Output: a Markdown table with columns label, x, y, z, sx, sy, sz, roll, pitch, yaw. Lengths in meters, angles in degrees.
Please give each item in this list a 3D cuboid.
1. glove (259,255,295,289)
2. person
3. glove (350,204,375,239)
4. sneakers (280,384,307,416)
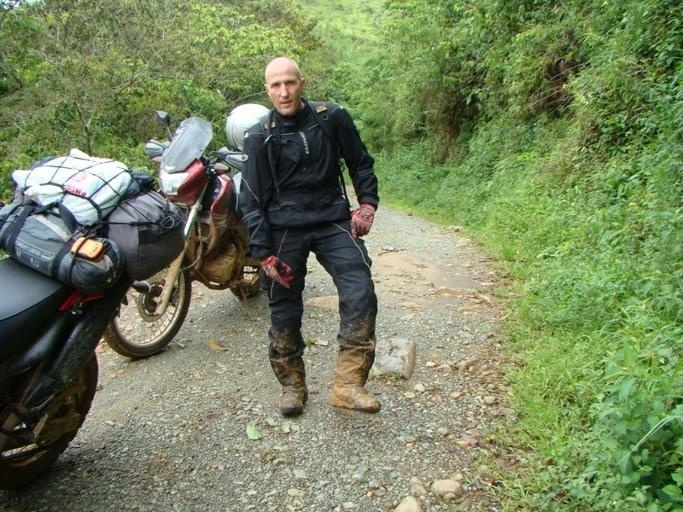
| label | x | y | z | sx | sy | sz | roll | pitch | yaw |
| --- | --- | --- | --- | --- | --- | --- | --- | --- | --- |
| glove | -0.441 | 0.097 | 3.755 | 0.243 | 0.110 | 0.180 | 37 | 53 | -16 |
| person | -0.220 | -0.115 | 3.828 | 0.977 | 2.309 | 1.165 | 3 | 24 | -11 |
| glove | 0.139 | -0.235 | 3.953 | 0.150 | 0.245 | 0.066 | 8 | -15 | -12 |
| sneakers | -0.346 | 1.031 | 3.875 | 0.163 | 0.162 | 0.220 | 8 | 23 | 2 |
